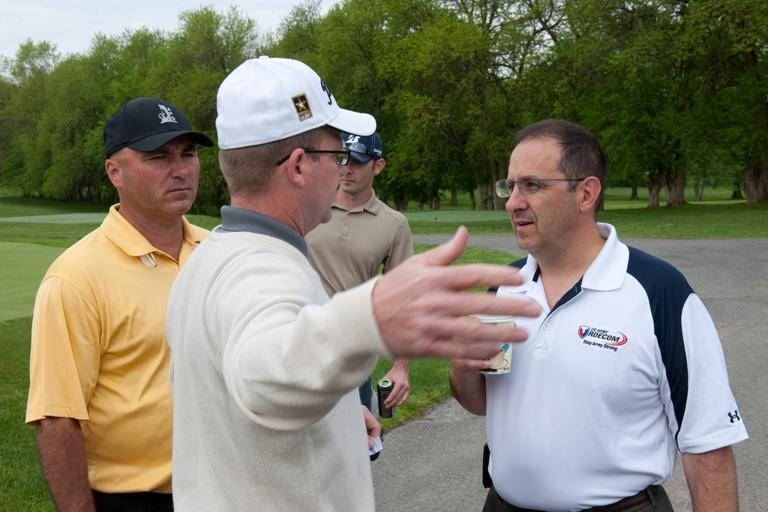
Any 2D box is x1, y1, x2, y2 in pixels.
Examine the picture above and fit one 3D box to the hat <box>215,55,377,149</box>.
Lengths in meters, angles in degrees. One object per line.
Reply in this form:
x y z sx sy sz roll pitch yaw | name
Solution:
-0.457 -0.743 3.260 0.609 0.315 0.391 -5 14 -11 | hat
